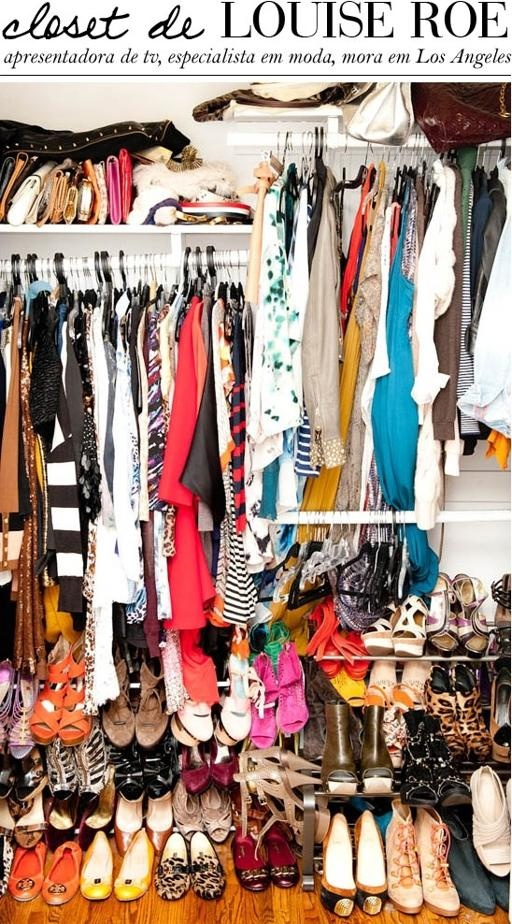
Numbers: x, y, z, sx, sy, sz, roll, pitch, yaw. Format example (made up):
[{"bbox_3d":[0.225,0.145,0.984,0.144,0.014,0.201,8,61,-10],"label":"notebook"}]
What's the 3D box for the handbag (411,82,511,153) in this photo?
[{"bbox_3d":[0.512,-0.885,1.699,0.239,0.201,0.200,1,13,16],"label":"handbag"}]
